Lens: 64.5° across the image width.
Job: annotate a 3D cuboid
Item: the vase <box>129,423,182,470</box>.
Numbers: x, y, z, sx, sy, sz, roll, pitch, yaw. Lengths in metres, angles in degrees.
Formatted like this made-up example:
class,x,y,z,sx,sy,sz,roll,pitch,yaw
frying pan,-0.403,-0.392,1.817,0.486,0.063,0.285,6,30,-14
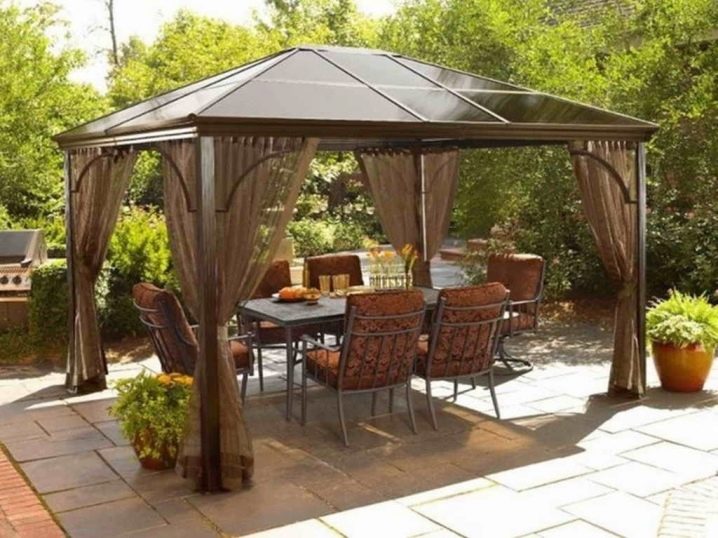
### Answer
class,x,y,z,sx,sy,sz,roll,pitch,yaw
vase,-1.456,1.286,4.250,0.401,0.283,0.352,-1,-4,23

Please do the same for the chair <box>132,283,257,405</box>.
class,x,y,z,sx,sy,sz,roll,pitch,yaw
chair,-1.439,0.666,4.954,0.942,0.924,0.726,7,-1,-42

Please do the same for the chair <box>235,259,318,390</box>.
class,x,y,z,sx,sy,sz,roll,pitch,yaw
chair,-0.915,0.503,6.531,0.891,1.221,0.849,-6,10,-19

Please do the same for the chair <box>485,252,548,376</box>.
class,x,y,z,sx,sy,sz,roll,pitch,yaw
chair,1.540,0.452,6.515,1.081,1.259,1.062,3,3,23

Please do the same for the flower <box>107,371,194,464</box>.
class,x,y,z,sx,sy,sz,roll,pitch,yaw
flower,-1.490,1.048,4.401,0.834,0.743,0.681,0,0,-21

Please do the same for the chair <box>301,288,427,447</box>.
class,x,y,z,sx,sy,sz,roll,pitch,yaw
chair,0.067,0.752,4.841,0.866,1.132,0.981,-1,2,-38

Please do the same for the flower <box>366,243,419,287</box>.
class,x,y,z,sx,sy,sz,roll,pitch,yaw
flower,0.359,0.010,6.125,0.521,0.430,0.374,-2,-6,-4

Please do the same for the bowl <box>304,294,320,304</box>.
class,x,y,z,sx,sy,sz,roll,pitch,yaw
bowl,-0.458,0.294,5.650,0.111,0.063,0.104,-2,3,0
